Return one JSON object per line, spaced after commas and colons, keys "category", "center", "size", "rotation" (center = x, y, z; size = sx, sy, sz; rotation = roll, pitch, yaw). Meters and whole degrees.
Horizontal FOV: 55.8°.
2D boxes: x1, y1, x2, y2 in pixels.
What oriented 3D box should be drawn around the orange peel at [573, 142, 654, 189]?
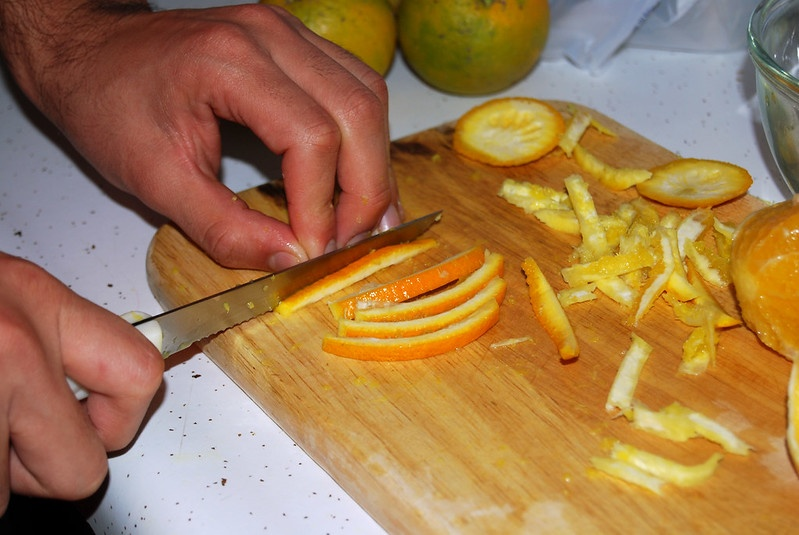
{"category": "orange peel", "center": [0.782, -0.366, 2.750], "size": [0.041, 0.063, 0.179], "rotation": [-30, 50, -34]}
